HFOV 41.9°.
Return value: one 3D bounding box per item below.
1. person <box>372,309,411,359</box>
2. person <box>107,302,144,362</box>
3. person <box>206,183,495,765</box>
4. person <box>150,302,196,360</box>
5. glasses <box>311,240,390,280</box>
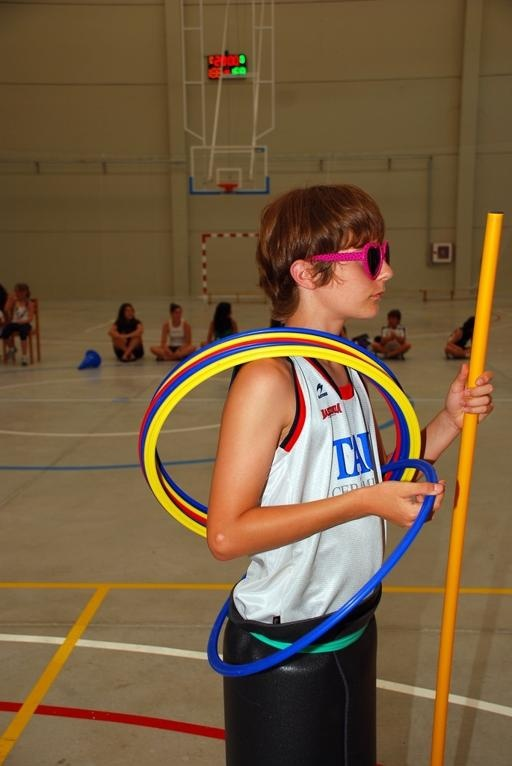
[{"bbox_3d":[2.063,-0.729,10.204,0.609,0.718,0.507,5,21,24],"label":"person"},{"bbox_3d":[-2.097,-0.792,10.800,0.508,0.921,0.619,-4,12,-11],"label":"person"},{"bbox_3d":[0.176,0.280,1.238,0.469,1.273,0.533,2,12,17],"label":"person"},{"bbox_3d":[-1.324,-0.789,10.573,0.747,0.842,0.674,-14,24,-28],"label":"person"},{"bbox_3d":[0.174,-0.197,1.172,0.093,0.035,0.094,-4,2,35],"label":"glasses"}]
